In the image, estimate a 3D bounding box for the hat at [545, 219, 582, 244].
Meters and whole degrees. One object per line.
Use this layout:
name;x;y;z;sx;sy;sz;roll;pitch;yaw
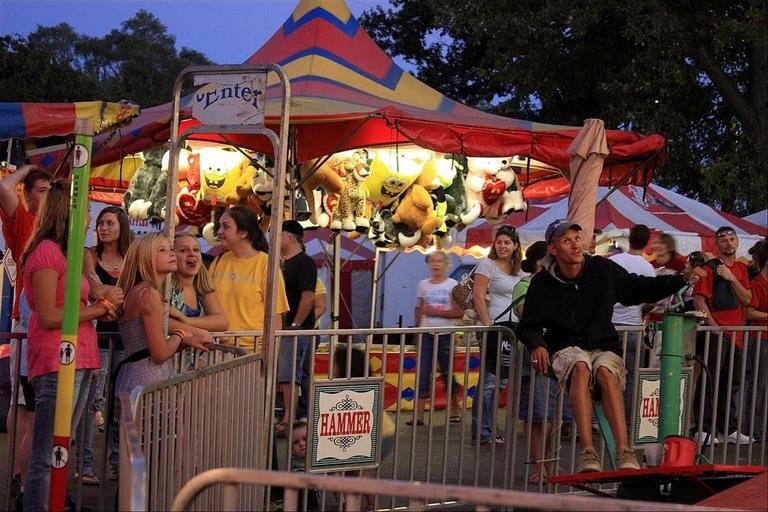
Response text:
hat;1.804;-0.232;10.357;0.228;0.165;0.312;-10;-21;-34

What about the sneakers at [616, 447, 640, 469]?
sneakers;2.292;1.914;9.616;0.202;0.192;0.312;-1;-9;11

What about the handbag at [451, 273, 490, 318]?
handbag;1.101;0.530;12.902;0.339;0.423;0.446;-25;27;-27

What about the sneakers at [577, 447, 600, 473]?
sneakers;1.960;1.954;9.775;0.221;0.233;0.302;-1;-9;11
